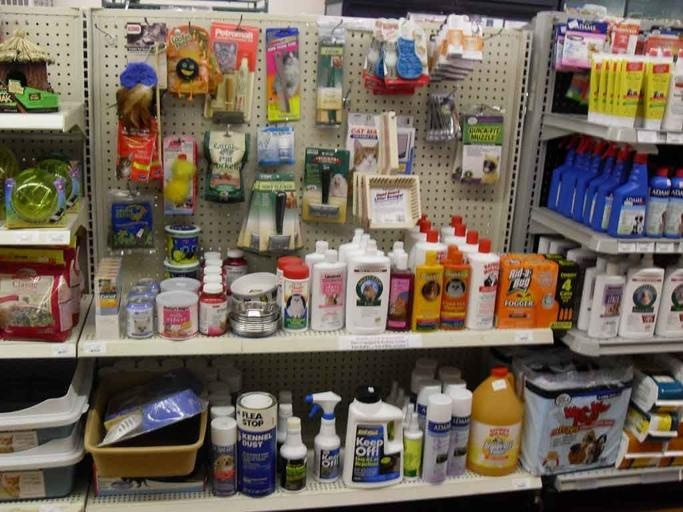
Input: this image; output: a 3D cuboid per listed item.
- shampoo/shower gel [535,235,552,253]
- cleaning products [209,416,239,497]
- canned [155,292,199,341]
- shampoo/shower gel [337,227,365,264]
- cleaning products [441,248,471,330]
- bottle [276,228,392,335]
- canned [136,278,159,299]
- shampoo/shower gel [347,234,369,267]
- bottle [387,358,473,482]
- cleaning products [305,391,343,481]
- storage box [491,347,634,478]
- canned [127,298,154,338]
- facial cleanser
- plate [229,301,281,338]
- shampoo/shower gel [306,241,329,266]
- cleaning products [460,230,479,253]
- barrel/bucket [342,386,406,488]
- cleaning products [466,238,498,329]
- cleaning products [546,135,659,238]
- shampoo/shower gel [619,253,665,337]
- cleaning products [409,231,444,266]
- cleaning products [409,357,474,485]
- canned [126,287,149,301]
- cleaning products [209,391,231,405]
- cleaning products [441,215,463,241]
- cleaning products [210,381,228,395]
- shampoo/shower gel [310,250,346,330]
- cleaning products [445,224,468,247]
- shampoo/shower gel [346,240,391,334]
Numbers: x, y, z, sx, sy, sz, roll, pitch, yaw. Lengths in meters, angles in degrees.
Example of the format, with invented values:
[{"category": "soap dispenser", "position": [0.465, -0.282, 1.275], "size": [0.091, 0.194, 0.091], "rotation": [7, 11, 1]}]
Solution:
[{"category": "shampoo/shower gel", "position": [1.002, -0.063, 2.944], "size": [0.062, 0.136, 0.072], "rotation": [-1, 10, -13]}, {"category": "cleaning products", "position": [-0.495, 0.849, 2.492], "size": [0.122, 0.292, 0.199], "rotation": [1, 10, -11]}, {"category": "canned", "position": [-0.673, 0.224, 2.441], "size": [0.156, 0.178, 0.166], "rotation": [3, 26, -12]}, {"category": "shampoo/shower gel", "position": [0.044, -0.049, 2.637], "size": [0.108, 0.175, 0.086], "rotation": [9, 7, -21]}, {"category": "cleaning products", "position": [0.495, 0.144, 2.563], "size": [0.120, 0.367, 0.058], "rotation": [0, 13, 10]}, {"category": "bottle", "position": [-0.042, 0.126, 2.524], "size": [0.342, 0.556, 0.191], "rotation": [2, 18, 0]}, {"category": "canned", "position": [-0.821, 0.122, 2.465], "size": [0.075, 0.084, 0.083], "rotation": [8, 8, -10]}, {"category": "shampoo/shower gel", "position": [0.074, -0.020, 2.535], "size": [0.081, 0.163, 0.088], "rotation": [12, 9, -11]}, {"category": "bottle", "position": [0.401, 0.769, 2.664], "size": [0.308, 0.617, 0.310], "rotation": [1, 14, 0]}, {"category": "cleaning products", "position": [-0.070, 0.789, 2.644], "size": [0.139, 0.418, 0.183], "rotation": [-1, 13, 6]}, {"category": "storage box", "position": [1.057, 0.685, 2.754], "size": [0.389, 0.702, 0.370], "rotation": [-3, 12, -12]}, {"category": "canned", "position": [-0.825, 0.249, 2.396], "size": [0.135, 0.164, 0.146], "rotation": [-3, 18, -22]}, {"category": "facial cleanser", "position": [1.217, -0.698, 2.465], "size": [0.316, 0.319, 0.214], "rotation": [6, 16, 30]}, {"category": "plate", "position": [-0.366, 0.257, 2.459], "size": [0.211, 0.149, 0.103], "rotation": [-5, 14, -11]}, {"category": "shampoo/shower gel", "position": [-0.105, -0.013, 2.586], "size": [0.068, 0.112, 0.051], "rotation": [10, 19, 15]}, {"category": "cleaning products", "position": [0.590, -0.063, 2.661], "size": [0.081, 0.107, 0.090], "rotation": [5, 16, -10]}, {"category": "barrel/bucket", "position": [0.141, 0.800, 2.590], "size": [0.276, 0.438, 0.137], "rotation": [-2, 13, 1]}, {"category": "cleaning products", "position": [0.622, 0.144, 2.630], "size": [0.115, 0.423, 0.123], "rotation": [-2, 18, -12]}, {"category": "cleaning products", "position": [1.163, -0.335, 2.686], "size": [0.230, 0.415, 0.490], "rotation": [-9, 16, -27]}, {"category": "shampoo/shower gel", "position": [1.361, 0.187, 2.656], "size": [0.186, 0.387, 0.082], "rotation": [-9, 15, -27]}, {"category": "cleaning products", "position": [0.398, 0.004, 2.620], "size": [0.121, 0.246, 0.137], "rotation": [5, 6, 6]}, {"category": "cleaning products", "position": [0.465, 0.780, 2.717], "size": [0.272, 0.416, 0.268], "rotation": [-6, 14, -15]}, {"category": "canned", "position": [-0.835, 0.144, 2.380], "size": [0.061, 0.067, 0.062], "rotation": [10, 10, 36]}, {"category": "cleaning products", "position": [-0.539, 0.630, 2.591], "size": [0.053, 0.036, 0.077], "rotation": [2, 6, -8]}, {"category": "cleaning products", "position": [0.529, -0.135, 2.793], "size": [0.067, 0.128, 0.073], "rotation": [14, 13, -8]}, {"category": "cleaning products", "position": [-0.553, 0.591, 2.626], "size": [0.047, 0.036, 0.051], "rotation": [1, 15, -17]}, {"category": "shampoo/shower gel", "position": [-0.051, 0.144, 2.523], "size": [0.147, 0.381, 0.085], "rotation": [-4, 25, -15]}, {"category": "cleaning products", "position": [0.538, -0.092, 2.710], "size": [0.089, 0.114, 0.092], "rotation": [-3, 16, -39]}, {"category": "shampoo/shower gel", "position": [0.111, 0.162, 2.486], "size": [0.137, 0.440, 0.166], "rotation": [-3, 17, -13]}]
